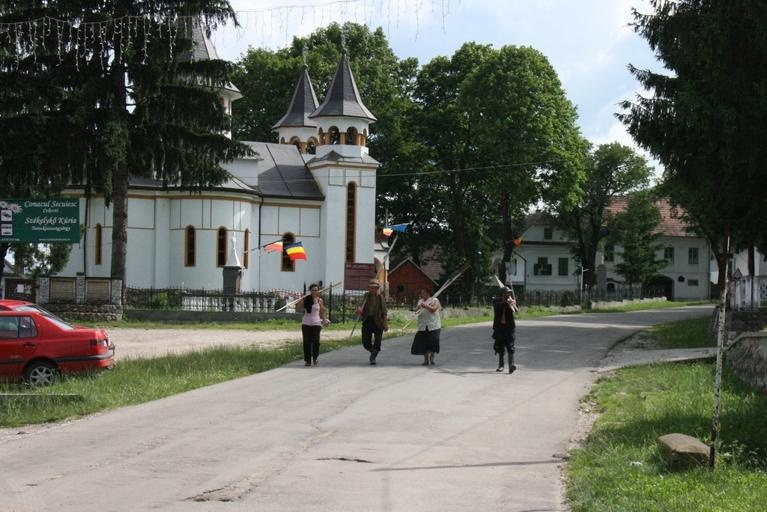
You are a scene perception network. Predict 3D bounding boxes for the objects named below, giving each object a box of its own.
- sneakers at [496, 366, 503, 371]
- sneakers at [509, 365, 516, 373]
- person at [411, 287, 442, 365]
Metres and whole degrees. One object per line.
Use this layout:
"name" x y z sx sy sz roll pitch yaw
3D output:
"sneakers" 3.306 3.220 28.232 0.166 0.165 0.083 22 -18 -20
"sneakers" 3.608 3.191 28.059 0.062 0.182 0.252 -1 5 44
"person" 1.262 2.070 29.382 0.794 2.236 1.269 2 7 2
